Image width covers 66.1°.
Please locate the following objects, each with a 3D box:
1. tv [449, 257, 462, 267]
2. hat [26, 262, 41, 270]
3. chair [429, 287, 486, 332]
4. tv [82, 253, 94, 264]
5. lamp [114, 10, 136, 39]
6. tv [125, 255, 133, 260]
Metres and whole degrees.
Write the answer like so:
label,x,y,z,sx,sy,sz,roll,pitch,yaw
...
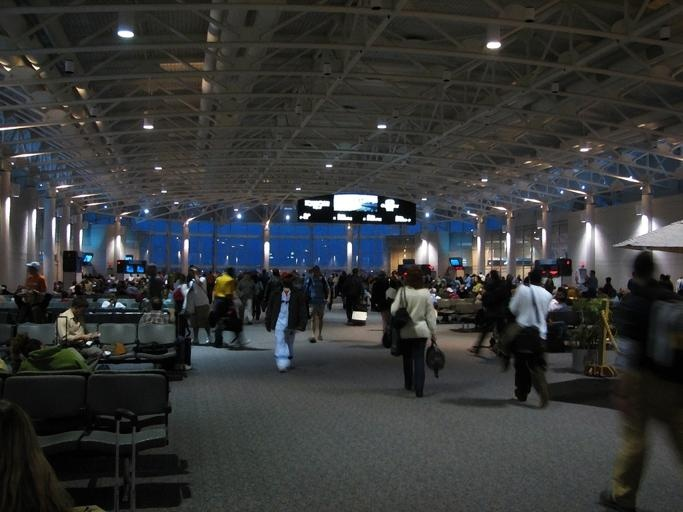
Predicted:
label,x,y,z,sx,sy,sz,roll,pitch,yaw
tv,9.605,0.511,43.910,1.106,0.923,1.541,-1,-2,28
hat,-12.349,0.368,20.824,0.604,0.260,0.399,7,-4,-12
chair,4.588,2.192,21.215,2.225,1.189,1.581,-3,-5,27
tv,-22.239,0.193,45.693,1.181,0.944,0.936,1,-5,-16
lamp,-5.518,-5.968,13.375,0.371,0.696,0.542,-1,-1,-22
tv,-20.460,0.146,50.161,0.578,0.329,0.289,1,-12,-4
